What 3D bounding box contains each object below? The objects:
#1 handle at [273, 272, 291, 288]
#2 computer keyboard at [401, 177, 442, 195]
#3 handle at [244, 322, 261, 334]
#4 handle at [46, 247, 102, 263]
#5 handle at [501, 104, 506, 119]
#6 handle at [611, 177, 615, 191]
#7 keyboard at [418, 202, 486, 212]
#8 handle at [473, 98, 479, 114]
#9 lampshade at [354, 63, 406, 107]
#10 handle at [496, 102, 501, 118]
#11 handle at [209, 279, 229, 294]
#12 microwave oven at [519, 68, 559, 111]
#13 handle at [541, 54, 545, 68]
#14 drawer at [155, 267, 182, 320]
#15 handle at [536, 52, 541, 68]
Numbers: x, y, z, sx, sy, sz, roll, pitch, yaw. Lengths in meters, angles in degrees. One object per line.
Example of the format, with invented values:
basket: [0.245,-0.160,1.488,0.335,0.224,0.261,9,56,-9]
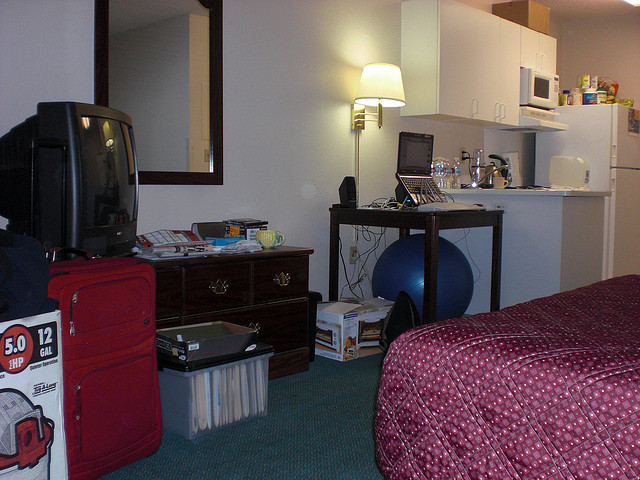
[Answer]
handle: [-0.213,0.218,2.691,0.009,0.077,0.084,5,7,42]
computer keyboard: [0.718,-0.379,3.484,0.298,0.112,0.136,-1,8,-16]
handle: [-0.354,0.461,2.591,0.042,0.019,0.039,29,27,17]
handle: [-0.891,0.048,1.747,0.100,0.030,0.077,2,8,-24]
handle: [1.639,-1.136,4.375,0.014,0.127,0.059,6,9,34]
handle: [2.804,-0.533,4.716,0.032,0.123,0.065,5,8,27]
keyboard: [0.844,-0.214,3.188,0.599,0.055,0.190,-5,11,-37]
handle: [1.298,-1.112,4.102,0.019,0.131,0.086,7,10,40]
lampshade: [0.428,-1.101,3.509,0.318,0.235,0.336,3,9,22]
handle: [1.562,-1.138,4.316,0.062,0.135,0.018,0,6,-30]
handle: [-0.510,0.234,2.468,0.070,0.055,0.007,-10,16,-44]
microwave oven: [2.070,-1.403,4.635,0.542,0.356,0.132,-5,10,-38]
handle: [2.142,-1.716,4.735,0.061,0.127,0.011,-4,9,-38]
drawer: [-0.734,0.290,2.392,0.122,0.253,0.175,-1,-18,-14]
handle: [2.076,-1.705,4.686,0.019,0.146,0.083,7,9,40]
